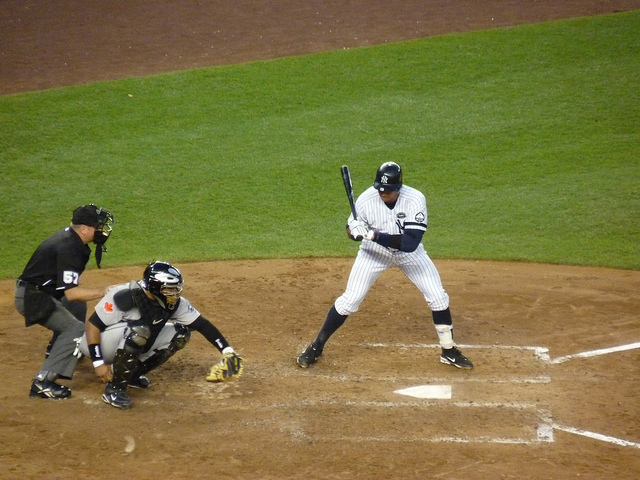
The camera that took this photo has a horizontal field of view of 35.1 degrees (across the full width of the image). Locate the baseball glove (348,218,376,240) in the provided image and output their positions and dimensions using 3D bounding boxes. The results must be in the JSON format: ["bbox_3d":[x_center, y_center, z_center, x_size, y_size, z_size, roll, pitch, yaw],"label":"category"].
[{"bbox_3d":[0.563,-0.132,14.208,0.325,0.135,0.325,2,20,-13],"label":"baseball glove"}]

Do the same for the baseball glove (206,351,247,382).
[{"bbox_3d":[-1.319,1.788,14.004,0.588,0.312,0.290,-32,-10,34],"label":"baseball glove"}]

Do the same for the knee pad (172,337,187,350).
[{"bbox_3d":[-1.953,1.427,14.015,0.189,0.200,0.067,-8,25,-15],"label":"knee pad"}]

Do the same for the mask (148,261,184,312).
[{"bbox_3d":[-2.087,0.655,13.708,0.422,0.717,0.262,4,25,14],"label":"mask"}]

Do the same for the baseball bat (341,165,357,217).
[{"bbox_3d":[0.426,-0.766,14.665,0.167,0.889,0.078,-14,-15,-1],"label":"baseball bat"}]
